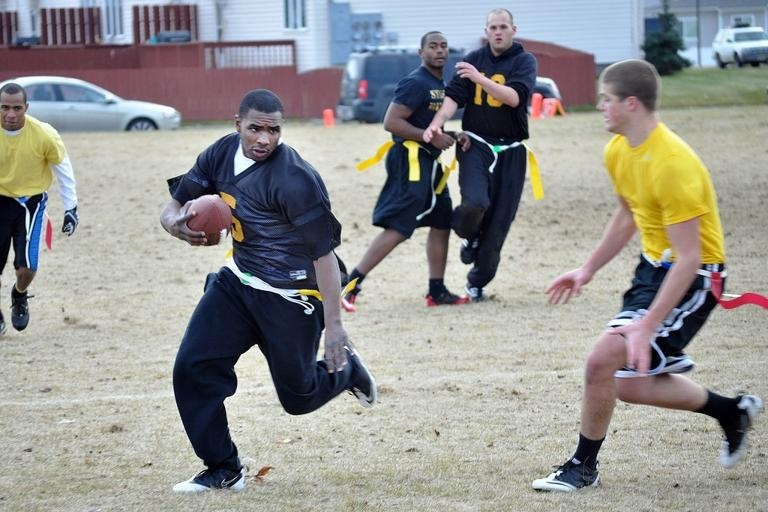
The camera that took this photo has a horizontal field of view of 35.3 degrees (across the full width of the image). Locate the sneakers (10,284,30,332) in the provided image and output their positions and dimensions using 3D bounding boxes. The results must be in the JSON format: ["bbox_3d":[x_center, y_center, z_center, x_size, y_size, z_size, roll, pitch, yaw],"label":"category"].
[{"bbox_3d":[-3.590,0.528,11.865,0.215,0.422,0.204,-6,7,-26],"label":"sneakers"}]

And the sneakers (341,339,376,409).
[{"bbox_3d":[-0.201,0.948,9.637,0.266,0.572,0.194,-15,47,10],"label":"sneakers"}]

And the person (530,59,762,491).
[{"bbox_3d":[1.989,0.155,8.986,1.487,3.220,0.699,1,8,10],"label":"person"}]

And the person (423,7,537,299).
[{"bbox_3d":[1.008,-0.970,12.013,0.980,2.972,0.772,0,8,3],"label":"person"}]

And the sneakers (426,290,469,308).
[{"bbox_3d":[0.629,0.456,12.517,0.505,0.181,0.166,-2,4,-5],"label":"sneakers"}]

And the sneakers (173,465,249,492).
[{"bbox_3d":[-1.320,1.718,9.182,0.571,0.196,0.194,3,-3,-3],"label":"sneakers"}]
